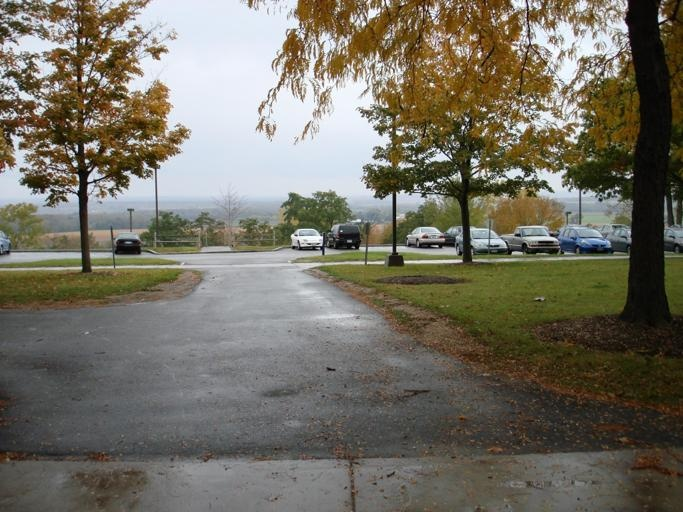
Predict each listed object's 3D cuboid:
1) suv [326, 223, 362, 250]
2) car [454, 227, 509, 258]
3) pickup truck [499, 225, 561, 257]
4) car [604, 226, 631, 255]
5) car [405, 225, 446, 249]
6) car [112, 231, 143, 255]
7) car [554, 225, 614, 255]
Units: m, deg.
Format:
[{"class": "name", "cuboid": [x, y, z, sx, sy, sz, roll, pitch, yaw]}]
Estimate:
[{"class": "suv", "cuboid": [0.139, -1.558, 48.046, 1.550, 1.264, 2.708, 0, 8, -11]}, {"class": "car", "cuboid": [8.364, -0.806, 37.910, 1.936, 1.423, 4.002, 0, -2, -10]}, {"class": "pickup truck", "cuboid": [11.065, -0.950, 36.594, 1.549, 1.167, 3.337, -1, 2, -11]}, {"class": "car", "cuboid": [15.460, -0.883, 35.227, 0.977, 1.598, 3.282, 3, 12, 17]}, {"class": "car", "cuboid": [6.364, -1.301, 48.303, 1.614, 1.675, 3.521, -4, 12, -15]}, {"class": "car", "cuboid": [-14.312, -0.758, 42.368, 1.172, 0.892, 2.795, -1, 8, -21]}, {"class": "car", "cuboid": [13.799, -0.887, 35.649, 1.556, 1.144, 2.790, 1, -2, -4]}]
